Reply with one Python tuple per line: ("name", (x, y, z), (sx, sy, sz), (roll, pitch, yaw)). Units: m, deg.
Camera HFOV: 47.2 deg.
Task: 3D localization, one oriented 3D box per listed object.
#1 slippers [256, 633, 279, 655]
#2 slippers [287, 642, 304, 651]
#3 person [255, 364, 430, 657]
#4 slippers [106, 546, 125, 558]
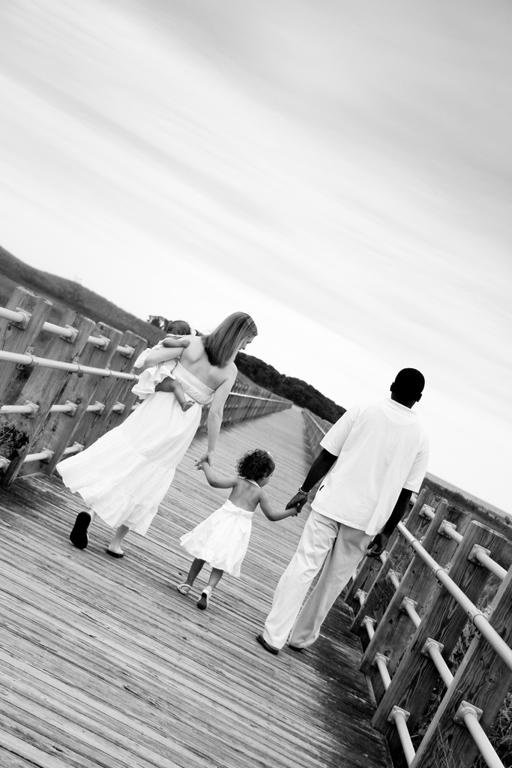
("slippers", (0.056, 1.538, 3.499), (0.066, 0.065, 0.163), (4, 38, -48))
("slippers", (0.260, 1.664, 3.779), (0.069, 0.027, 0.060), (12, -3, -7))
("person", (0.553, 0.767, 3.628), (0.671, 1.925, 0.380), (27, 1, 2))
("slippers", (-0.899, 1.054, 3.764), (0.106, 0.070, 0.062), (11, -3, -12))
